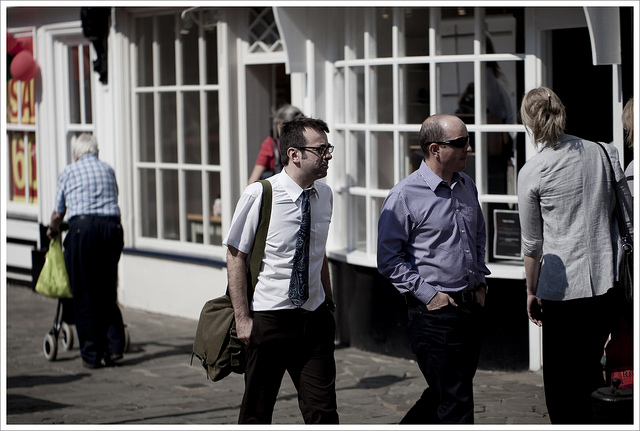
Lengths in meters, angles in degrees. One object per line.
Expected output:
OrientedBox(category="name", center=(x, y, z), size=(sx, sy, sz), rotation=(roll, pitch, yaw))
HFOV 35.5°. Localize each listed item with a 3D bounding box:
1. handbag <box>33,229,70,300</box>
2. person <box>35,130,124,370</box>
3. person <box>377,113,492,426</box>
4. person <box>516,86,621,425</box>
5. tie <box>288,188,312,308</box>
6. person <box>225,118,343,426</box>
OrientedBox(category="handbag", center=(-2.676, 0.475, 9.955), size=(0.307, 0.701, 0.235), rotation=(-2, 2, -18))
OrientedBox(category="person", center=(-2.369, 0.346, 9.999), size=(0.756, 2.346, 0.310), rotation=(-1, 2, -13))
OrientedBox(category="person", center=(0.891, 0.419, 7.832), size=(0.865, 2.417, 0.425), rotation=(-1, 2, 7))
OrientedBox(category="person", center=(1.971, 0.328, 7.887), size=(0.772, 2.646, 0.331), rotation=(0, 2, 17))
OrientedBox(category="tie", center=(-0.151, 0.236, 7.570), size=(0.201, 0.872, 0.048), rotation=(-2, 2, -24))
OrientedBox(category="person", center=(-0.304, 0.423, 7.631), size=(0.830, 2.318, 0.239), rotation=(-1, 2, -6))
